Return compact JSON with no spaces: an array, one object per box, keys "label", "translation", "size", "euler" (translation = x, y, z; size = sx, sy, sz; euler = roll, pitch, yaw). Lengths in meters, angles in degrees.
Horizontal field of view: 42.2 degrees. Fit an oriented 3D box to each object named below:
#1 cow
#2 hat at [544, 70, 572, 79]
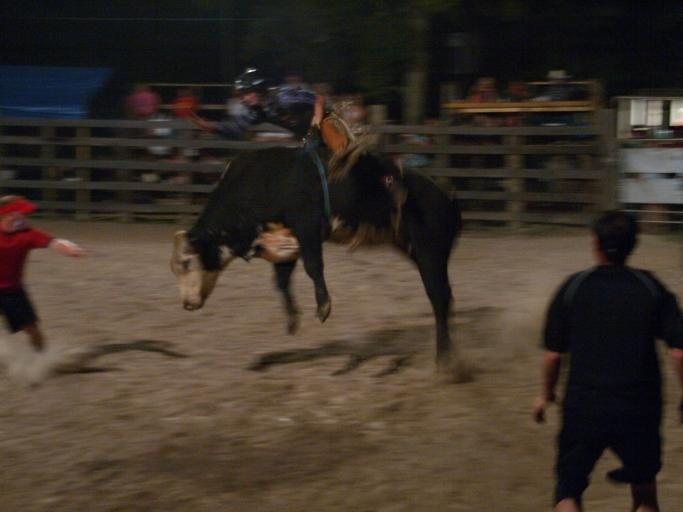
[{"label":"cow","translation":[-0.252,-0.071,6.306],"size":[2.285,1.215,0.638],"euler":[-1,-1,-36]},{"label":"hat","translation":[2.785,-2.345,11.481],"size":[0.246,0.064,0.229],"euler":[16,29,41]}]
